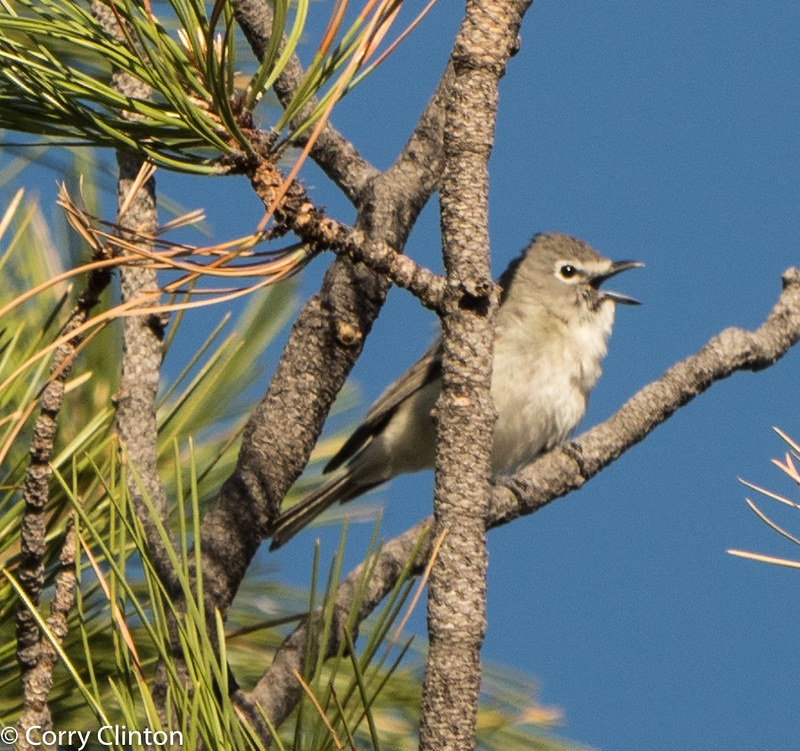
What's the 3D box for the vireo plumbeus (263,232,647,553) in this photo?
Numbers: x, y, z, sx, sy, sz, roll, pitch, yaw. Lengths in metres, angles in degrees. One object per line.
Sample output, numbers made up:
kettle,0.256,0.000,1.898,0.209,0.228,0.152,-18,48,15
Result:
vireo plumbeus,0.158,0.052,4.935,1.068,0.863,0.430,-9,-34,14
